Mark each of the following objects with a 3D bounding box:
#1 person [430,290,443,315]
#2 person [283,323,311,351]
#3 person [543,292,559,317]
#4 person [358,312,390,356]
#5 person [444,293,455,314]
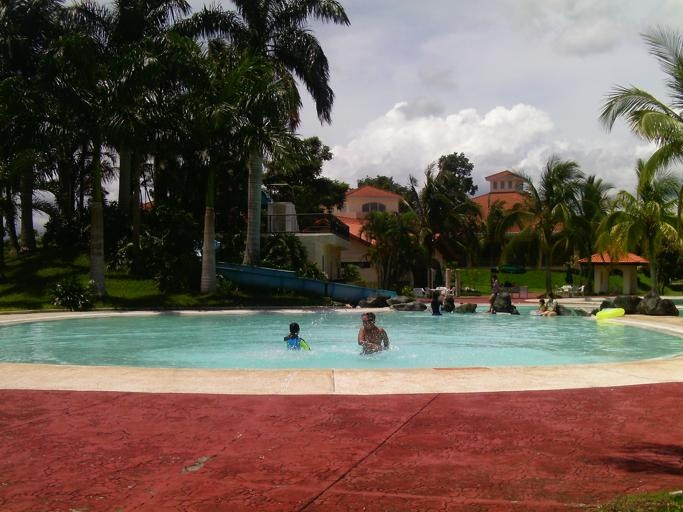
[{"bbox_3d":[3.675,1.841,22.115,0.387,0.895,1.447,1,-2,9],"label":"person"},{"bbox_3d":[-1.026,1.886,13.072,0.404,0.835,0.359,9,39,13],"label":"person"},{"bbox_3d":[7.899,1.998,21.601,0.498,0.545,1.181,0,-2,19],"label":"person"},{"bbox_3d":[0.656,1.576,11.599,0.572,0.844,0.726,1,-1,5],"label":"person"},{"bbox_3d":[4.446,2.008,23.609,0.466,0.650,0.706,1,-2,10],"label":"person"}]
